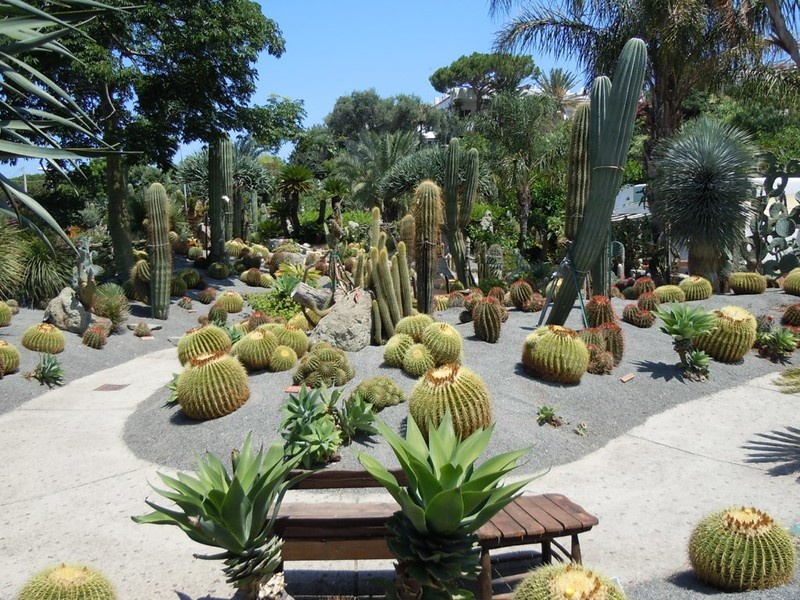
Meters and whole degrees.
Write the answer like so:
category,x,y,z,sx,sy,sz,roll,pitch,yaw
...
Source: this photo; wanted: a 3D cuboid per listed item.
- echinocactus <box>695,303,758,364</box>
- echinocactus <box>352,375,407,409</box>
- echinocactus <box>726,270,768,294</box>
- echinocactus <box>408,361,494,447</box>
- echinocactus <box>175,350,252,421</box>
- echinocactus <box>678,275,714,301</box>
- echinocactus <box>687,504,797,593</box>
category,x,y,z,sx,sy,sz,roll,pitch,yaw
echinocactus,4.916,0.543,8.865,0.642,0.730,0.646,18,11,37
echinocactus,-0.229,1.098,7.069,0.364,0.260,0.450,1,1,42
echinocactus,7.066,-0.321,11.884,0.463,0.297,0.526,0,7,5
echinocactus,0.542,1.053,6.553,0.750,0.893,0.806,-6,5,-13
echinocactus,-2.328,1.062,7.478,0.812,0.667,0.881,-9,2,24
echinocactus,5.784,-0.205,11.421,0.437,0.289,0.513,-1,12,6
echinocactus,2.767,1.906,4.828,0.628,0.643,0.688,-5,4,-6
